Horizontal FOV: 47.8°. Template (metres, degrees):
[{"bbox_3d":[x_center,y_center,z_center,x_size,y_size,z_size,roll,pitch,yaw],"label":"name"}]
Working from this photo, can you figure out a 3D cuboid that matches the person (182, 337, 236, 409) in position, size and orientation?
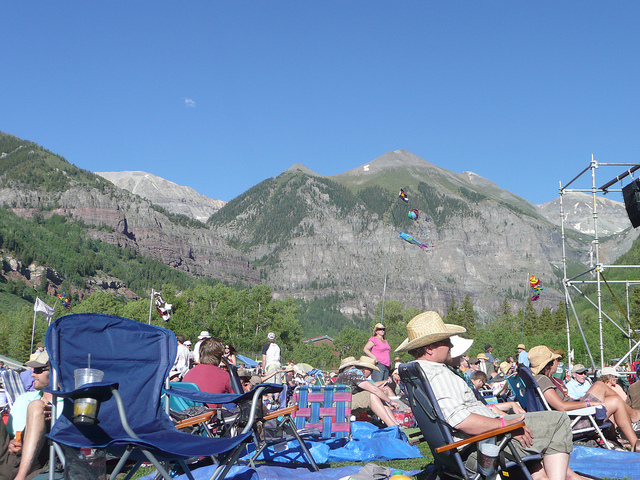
[{"bbox_3d":[-1.760,2.198,11.810,0.897,1.348,0.707,4,16,-4],"label":"person"}]

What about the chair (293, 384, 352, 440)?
[{"bbox_3d":[0.053,3.123,13.091,1.075,1.053,0.547,-4,-20,-5],"label":"chair"}]

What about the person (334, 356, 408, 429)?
[{"bbox_3d":[1.044,3.130,14.594,1.752,1.471,0.752,2,-6,7],"label":"person"}]

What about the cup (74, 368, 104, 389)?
[{"bbox_3d":[-2.966,1.761,9.189,0.239,0.202,0.257,0,-6,0],"label":"cup"}]

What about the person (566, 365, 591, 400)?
[{"bbox_3d":[5.871,3.249,16.325,0.939,0.728,0.392,5,-12,-42],"label":"person"}]

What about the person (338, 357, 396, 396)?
[{"bbox_3d":[1.093,2.802,15.684,0.884,0.558,1.239,28,-26,-19],"label":"person"}]
